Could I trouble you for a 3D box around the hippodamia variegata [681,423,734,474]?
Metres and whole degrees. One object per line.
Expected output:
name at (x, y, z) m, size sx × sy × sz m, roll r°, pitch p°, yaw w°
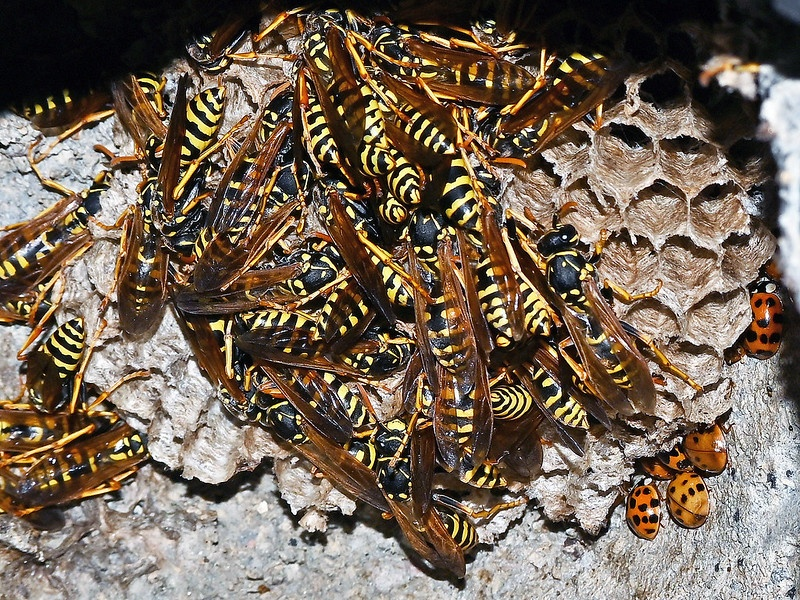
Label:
hippodamia variegata at (1.347, 0.624, 4.314) m, size 0.095 × 0.308 × 0.296 m, roll 1°, pitch 78°, yaw -20°
